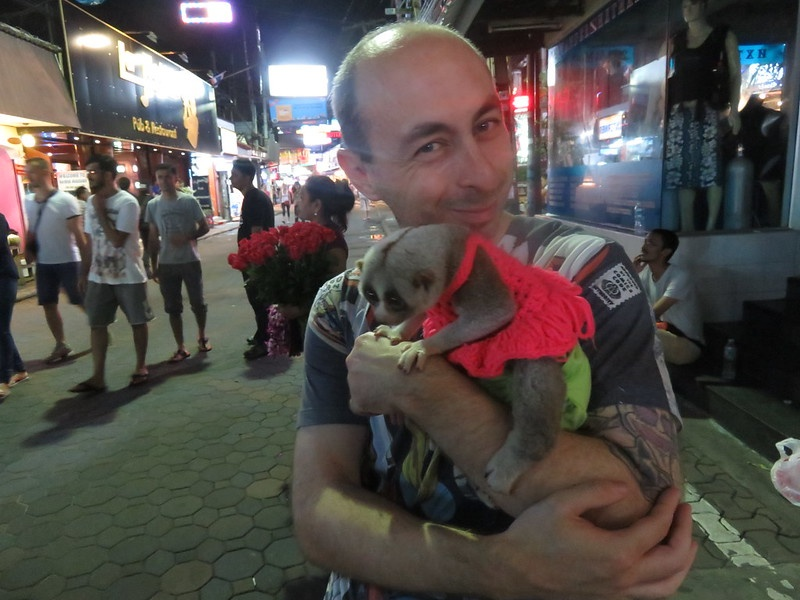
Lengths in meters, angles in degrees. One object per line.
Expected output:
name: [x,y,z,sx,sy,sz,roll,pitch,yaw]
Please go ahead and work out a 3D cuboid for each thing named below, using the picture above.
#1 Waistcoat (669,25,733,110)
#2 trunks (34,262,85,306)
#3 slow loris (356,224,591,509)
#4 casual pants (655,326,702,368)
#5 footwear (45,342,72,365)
Waistcoat: [3.557,-2.795,6.231,0.769,1.122,0.600,9,24,41]
trunks: [-4.513,-0.237,7.049,0.625,0.570,0.339,-11,13,-40]
slow loris: [0.224,0.153,1.671,0.689,0.784,0.313,4,15,25]
casual pants: [2.646,0.451,4.997,0.508,0.203,0.507,23,-4,14]
footwear: [-4.681,0.750,7.347,0.458,0.194,0.154,-21,-3,-4]
